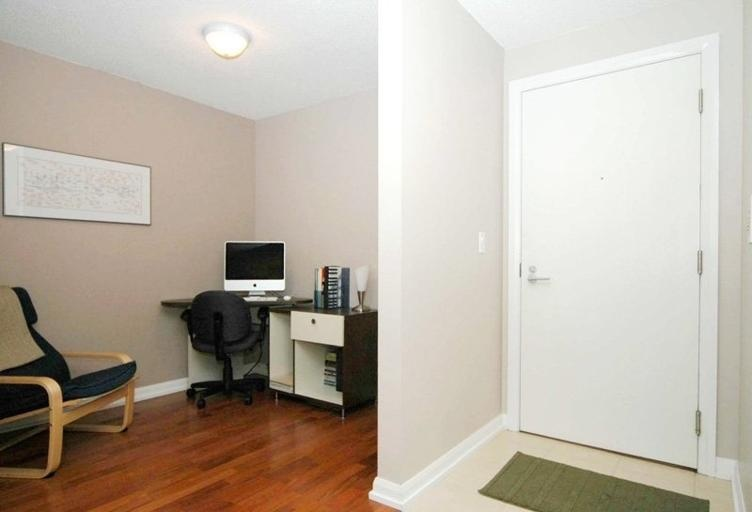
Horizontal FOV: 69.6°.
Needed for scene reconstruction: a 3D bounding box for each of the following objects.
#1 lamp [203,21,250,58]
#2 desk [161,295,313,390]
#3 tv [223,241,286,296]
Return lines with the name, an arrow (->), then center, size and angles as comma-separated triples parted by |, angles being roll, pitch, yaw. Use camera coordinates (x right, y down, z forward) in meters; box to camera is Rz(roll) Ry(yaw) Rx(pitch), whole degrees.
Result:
lamp -> -1.203, -1.736, 4.359 | 0.375, 0.217, 0.266 | -2, 3, -17
desk -> -1.402, 0.532, 5.297 | 1.615, 1.050, 0.843 | 1, -3, -45
tv -> -1.231, 0.109, 5.438 | 0.540, 0.491, 0.211 | 0, -5, -4
